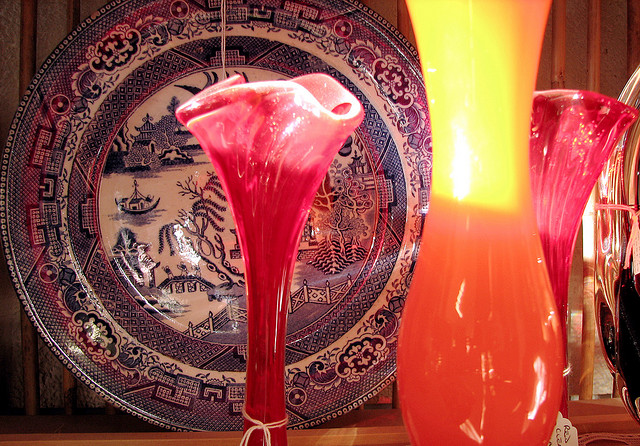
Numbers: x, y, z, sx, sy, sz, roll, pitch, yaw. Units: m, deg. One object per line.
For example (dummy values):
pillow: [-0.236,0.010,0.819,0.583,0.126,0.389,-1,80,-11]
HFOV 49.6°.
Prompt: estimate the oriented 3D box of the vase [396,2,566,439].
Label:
vase: [0.139,-0.002,0.608,0.146,0.299,0.249,-1,-39,6]
